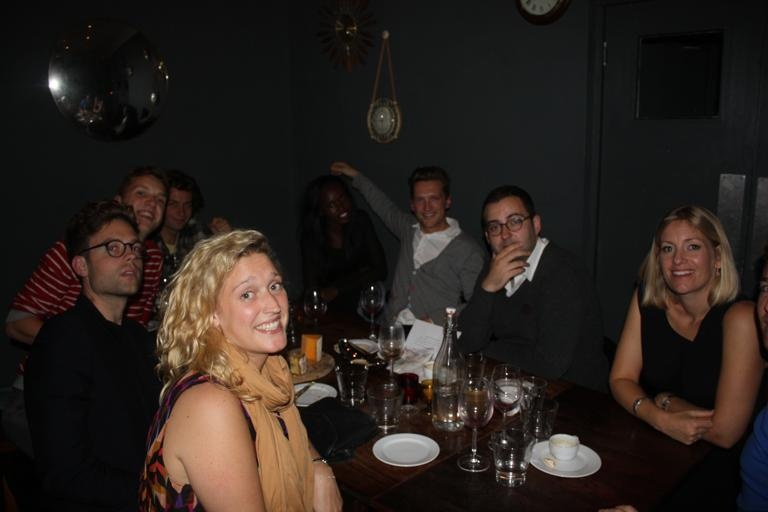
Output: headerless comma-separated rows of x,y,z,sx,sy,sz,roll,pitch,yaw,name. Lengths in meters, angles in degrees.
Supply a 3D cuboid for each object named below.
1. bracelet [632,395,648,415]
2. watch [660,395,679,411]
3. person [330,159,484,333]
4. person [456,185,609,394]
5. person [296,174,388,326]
1.134,0.660,2.488,0.020,0.067,0.070,28,-16,-4,bracelet
1.261,0.649,2.488,0.069,0.067,0.046,-47,20,-18,watch
0.188,-0.072,4.176,1.166,1.778,0.581,7,9,42,person
0.770,0.249,3.300,0.850,1.204,0.760,-3,0,30,person
-0.374,-0.054,4.599,0.751,1.124,0.839,-10,23,-16,person
